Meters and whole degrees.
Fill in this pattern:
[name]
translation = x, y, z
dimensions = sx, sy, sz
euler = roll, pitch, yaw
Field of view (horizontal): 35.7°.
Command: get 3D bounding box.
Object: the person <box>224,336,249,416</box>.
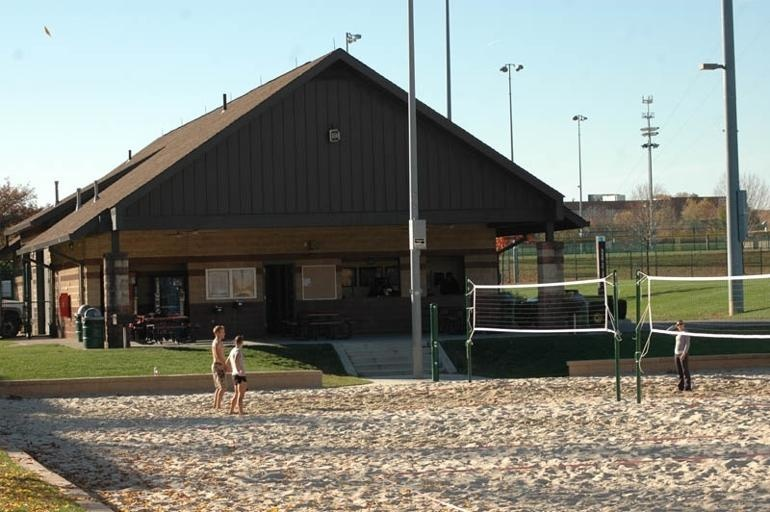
[person]
translation = -3.877, 3.071, 30.845
dimensions = 0.466, 1.962, 0.866
euler = -4, -3, -7

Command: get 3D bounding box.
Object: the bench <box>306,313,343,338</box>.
[bench]
translation = -2.118, 2.440, 41.558
dimensions = 1.320, 0.925, 2.875
euler = -4, -3, -2
